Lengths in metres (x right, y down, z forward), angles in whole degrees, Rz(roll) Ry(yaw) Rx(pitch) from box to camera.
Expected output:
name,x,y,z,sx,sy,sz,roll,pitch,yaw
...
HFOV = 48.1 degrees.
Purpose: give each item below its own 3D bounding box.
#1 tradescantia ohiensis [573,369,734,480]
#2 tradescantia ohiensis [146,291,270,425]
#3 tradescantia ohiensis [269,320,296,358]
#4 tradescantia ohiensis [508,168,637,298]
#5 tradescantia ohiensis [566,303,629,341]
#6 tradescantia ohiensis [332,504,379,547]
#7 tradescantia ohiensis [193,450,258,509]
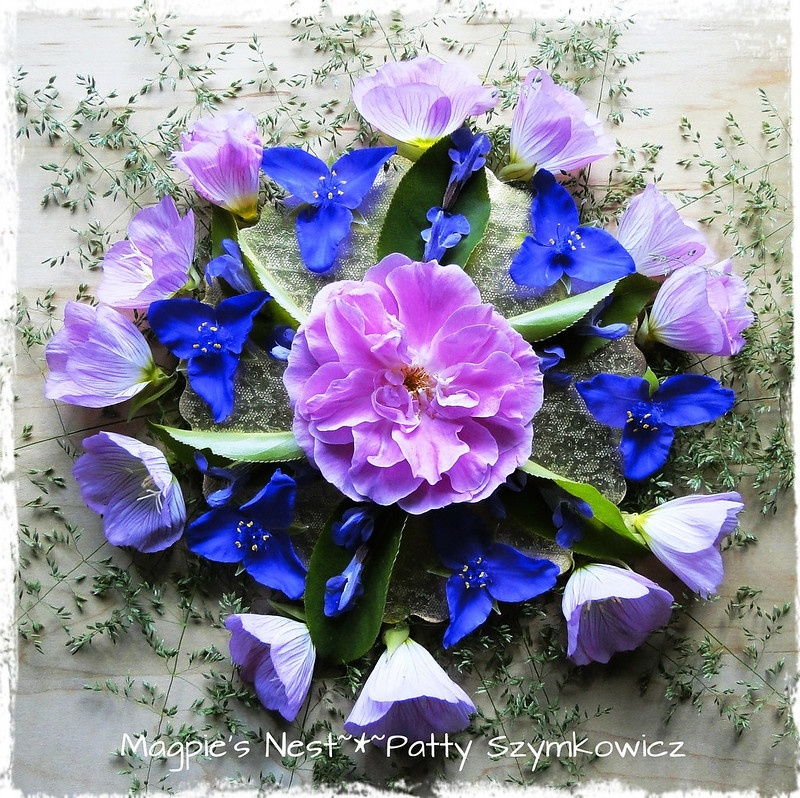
name,x,y,z,sx,sy,sz,roll,pitch,yaw
tradescantia ohiensis,0.340,0.031,1.148,0.201,0.138,0.085,-10,15,-28
tradescantia ohiensis,-0.231,-0.057,1.178,0.203,0.165,0.120,-8,44,-7
tradescantia ohiensis,-0.147,-0.075,1.127,0.046,0.042,0.016,-5,-13,24
tradescantia ohiensis,0.205,-0.209,1.157,0.205,0.152,0.112,1,33,1
tradescantia ohiensis,0.254,-0.097,1.144,0.070,0.023,0.055,-11,54,-37
tradescantia ohiensis,-0.064,0.156,1.123,0.064,0.044,0.018,-44,11,0
tradescantia ohiensis,-0.232,0.099,1.126,0.096,0.068,0.029,21,-17,27
